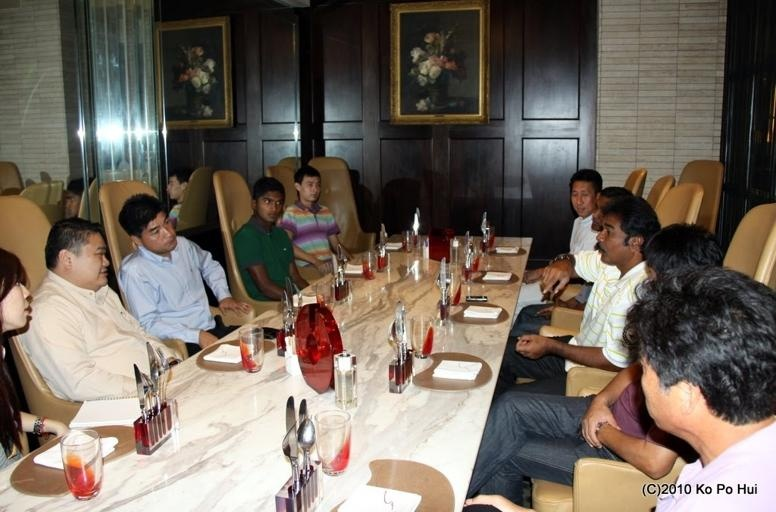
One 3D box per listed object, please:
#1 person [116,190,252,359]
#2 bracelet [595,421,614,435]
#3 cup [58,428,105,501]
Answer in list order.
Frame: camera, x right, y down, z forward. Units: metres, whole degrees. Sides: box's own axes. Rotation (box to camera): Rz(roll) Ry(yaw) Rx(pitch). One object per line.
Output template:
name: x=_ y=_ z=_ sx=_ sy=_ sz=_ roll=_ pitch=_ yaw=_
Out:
person: x=-1.303 y=0.118 z=3.344 sx=0.700 sy=0.997 sz=0.686 roll=9 pitch=34 yaw=11
bracelet: x=0.873 y=0.692 z=2.134 sx=0.058 sy=0.048 sz=0.088 roll=13 pitch=13 yaw=39
cup: x=-0.958 y=0.636 z=1.649 sx=0.106 sy=0.180 sz=0.189 roll=-13 pitch=16 yaw=-34
